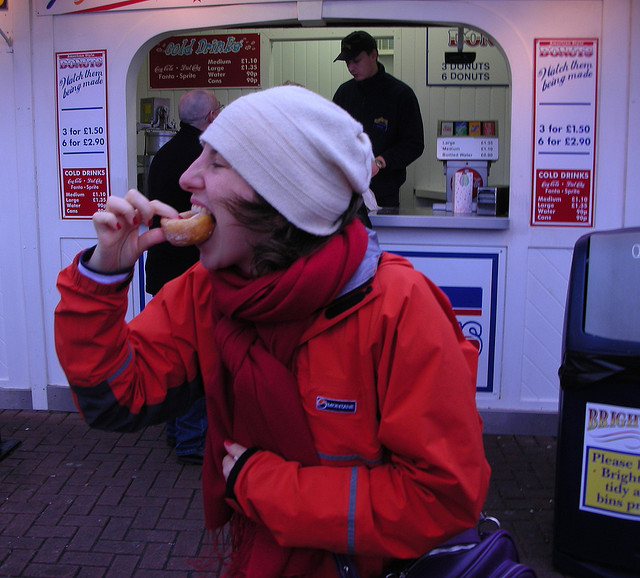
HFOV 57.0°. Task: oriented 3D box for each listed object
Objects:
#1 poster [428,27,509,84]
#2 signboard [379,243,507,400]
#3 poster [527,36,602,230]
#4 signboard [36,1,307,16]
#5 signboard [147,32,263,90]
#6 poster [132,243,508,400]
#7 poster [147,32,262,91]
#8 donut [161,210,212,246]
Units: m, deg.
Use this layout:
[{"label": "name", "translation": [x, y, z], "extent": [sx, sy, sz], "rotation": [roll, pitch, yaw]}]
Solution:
[{"label": "poster", "translation": [1.900, -3.008, 7.588], "extent": [1.012, 0.713, 0.218], "rotation": [2, 8, 11]}, {"label": "signboard", "translation": [0.972, 0.261, 4.716], "extent": [0.939, 1.409, 0.106], "rotation": [3, 28, 18]}, {"label": "poster", "translation": [1.778, -1.120, 4.280], "extent": [0.411, 1.335, 0.043], "rotation": [1, 4, 12]}, {"label": "signboard", "translation": [-1.406, -2.199, 4.522], "extent": [1.704, 0.108, 0.038], "rotation": [2, 8, 10]}, {"label": "signboard", "translation": [-1.607, -3.189, 8.250], "extent": [1.627, 0.961, 0.075], "rotation": [-4, -16, -4]}, {"label": "poster", "translation": [-0.007, 0.067, 1.703], "extent": [0.911, 0.674, 0.043], "rotation": [1, 4, 4]}, {"label": "poster", "translation": [-1.611, -3.179, 8.226], "extent": [1.670, 0.756, 0.212], "rotation": [1, 8, 9]}, {"label": "donut", "translation": [-0.310, -0.137, 1.379], "extent": [0.088, 0.045, 0.087], "rotation": [5, -2, 14]}]
